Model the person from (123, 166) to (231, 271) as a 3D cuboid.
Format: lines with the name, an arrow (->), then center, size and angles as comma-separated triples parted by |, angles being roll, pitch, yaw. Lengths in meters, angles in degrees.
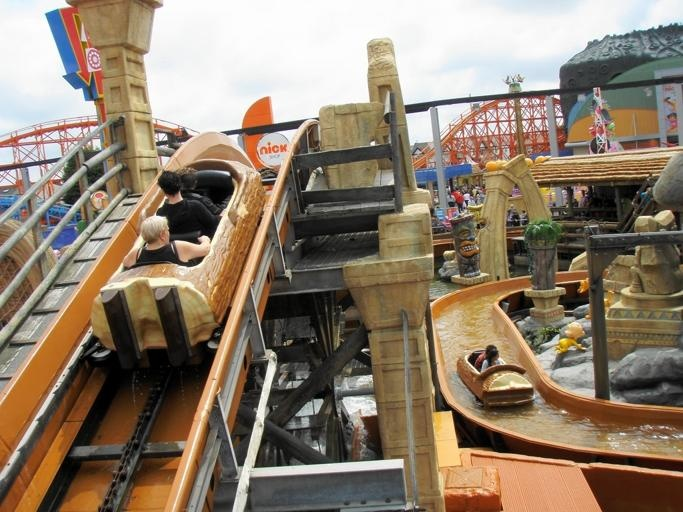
person -> -1.462, -0.321, 3.893 | 0.761, 0.772, 0.841 | -6, 12, -3

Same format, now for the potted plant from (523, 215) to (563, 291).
potted plant -> 6.047, -0.020, 13.819 | 0.971, 2.082, 0.694 | 0, 13, 25
